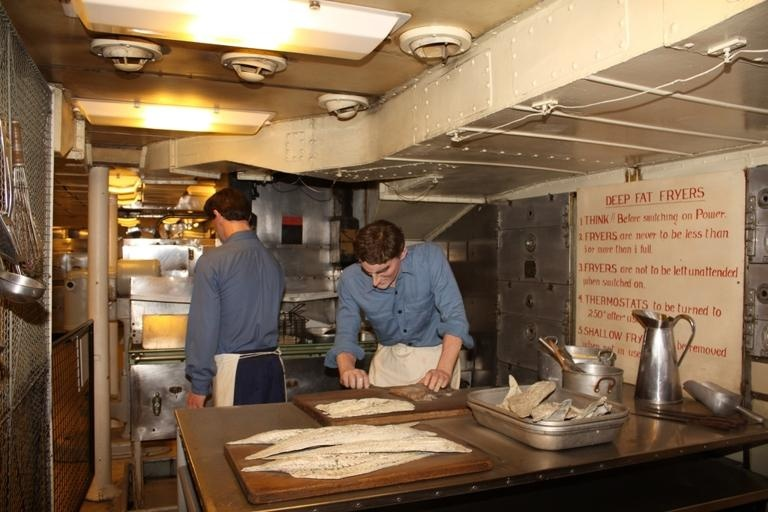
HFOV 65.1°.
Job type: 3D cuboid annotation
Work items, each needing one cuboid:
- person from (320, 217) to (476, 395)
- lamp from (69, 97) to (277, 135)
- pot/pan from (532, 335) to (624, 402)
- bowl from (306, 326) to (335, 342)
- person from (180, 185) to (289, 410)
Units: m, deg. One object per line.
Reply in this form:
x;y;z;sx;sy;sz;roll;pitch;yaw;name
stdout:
0.114;0.412;4.027;0.976;1.316;0.909;4;15;7;person
-1.828;-1.222;5.300;1.558;0.258;0.420;-2;14;-15;lamp
1.178;0.668;3.569;0.308;0.178;0.511;1;0;-9;pot/pan
-0.617;0.773;5.967;0.240;0.192;0.224;-2;1;0;bowl
-1.078;0.305;4.397;0.678;1.553;0.688;-1;16;-10;person
